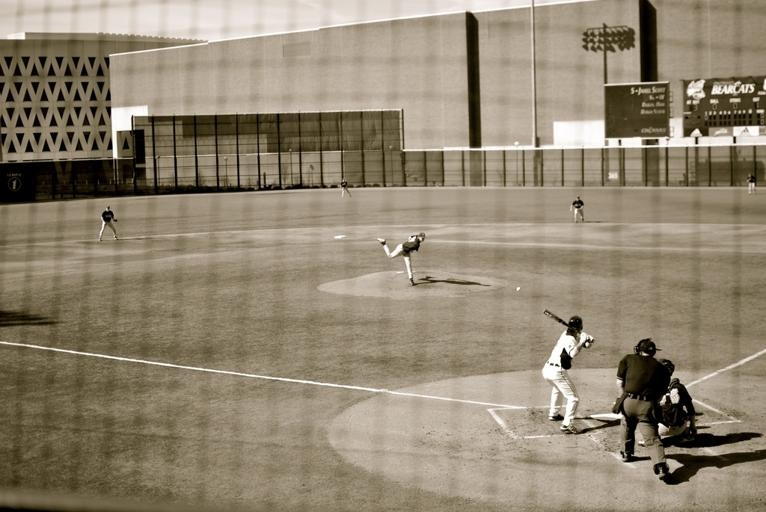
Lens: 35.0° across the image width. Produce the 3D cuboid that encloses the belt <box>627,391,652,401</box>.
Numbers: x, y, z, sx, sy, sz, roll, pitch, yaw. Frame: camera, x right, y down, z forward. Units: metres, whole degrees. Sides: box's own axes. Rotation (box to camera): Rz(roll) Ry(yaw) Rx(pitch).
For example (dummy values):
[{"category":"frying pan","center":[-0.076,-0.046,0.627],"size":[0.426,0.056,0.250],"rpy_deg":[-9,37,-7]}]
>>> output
[{"category":"belt","center":[7.786,4.268,37.132],"size":[0.733,0.253,0.082],"rpy_deg":[-1,-2,12]}]
